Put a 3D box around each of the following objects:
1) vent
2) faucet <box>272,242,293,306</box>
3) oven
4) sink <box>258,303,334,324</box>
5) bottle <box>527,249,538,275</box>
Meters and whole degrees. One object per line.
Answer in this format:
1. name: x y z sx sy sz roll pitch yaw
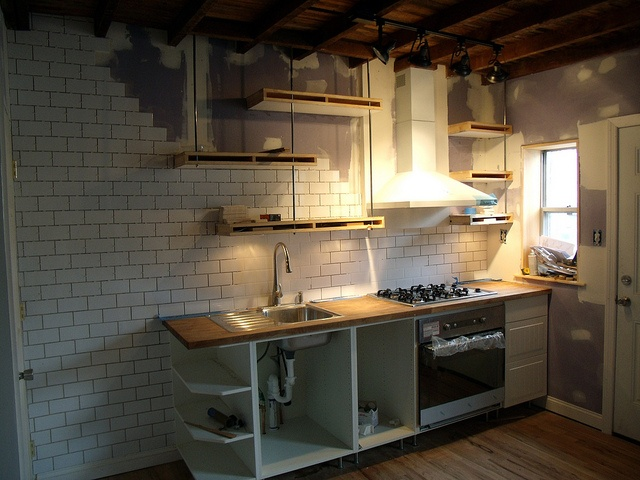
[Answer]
1. vent: 1.059 -0.979 5.081 1.169 1.331 0.714 -5 2 -31
2. faucet: -0.348 0.309 4.726 0.182 0.567 0.315 -1 12 -3
3. oven: 1.196 1.153 5.010 1.059 1.000 0.768 -4 3 -30
4. sink: -0.243 0.686 4.673 0.353 0.146 0.279 -5 10 -31
5. bottle: 2.241 0.253 5.446 0.075 0.230 0.148 0 12 1
